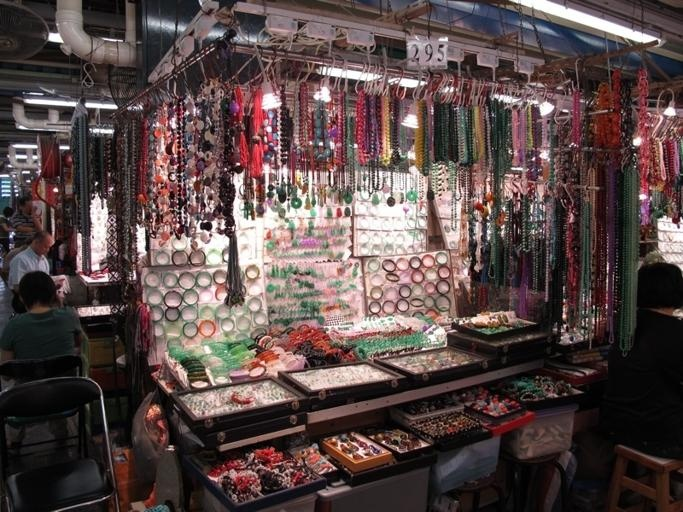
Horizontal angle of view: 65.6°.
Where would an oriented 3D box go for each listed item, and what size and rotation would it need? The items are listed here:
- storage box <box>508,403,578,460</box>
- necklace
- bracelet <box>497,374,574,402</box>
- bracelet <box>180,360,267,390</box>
[{"bbox_3d":[1.505,1.331,4.062,0.459,0.323,0.345,-3,0,-21],"label":"storage box"},{"bbox_3d":[0.318,-0.293,4.205,2.575,1.745,1.484,-3,6,-20],"label":"necklace"},{"bbox_3d":[1.533,1.042,4.225,0.567,0.081,0.431,-5,4,-14],"label":"bracelet"},{"bbox_3d":[-0.873,0.867,4.007,0.604,0.096,0.296,-5,4,-21],"label":"bracelet"}]
